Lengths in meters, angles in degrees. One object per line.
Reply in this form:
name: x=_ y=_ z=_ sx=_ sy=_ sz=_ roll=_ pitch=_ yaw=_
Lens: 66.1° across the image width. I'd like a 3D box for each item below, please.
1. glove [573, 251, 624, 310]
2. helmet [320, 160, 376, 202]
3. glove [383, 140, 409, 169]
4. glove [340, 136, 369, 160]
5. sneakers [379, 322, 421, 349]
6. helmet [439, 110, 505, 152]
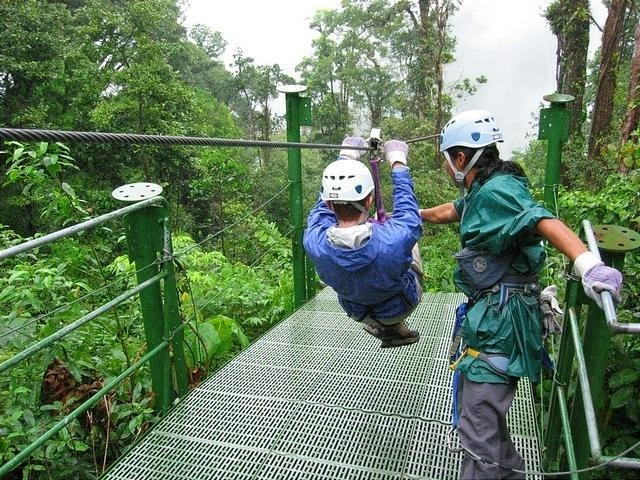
glove: x=1.363 y=0.189 z=2.369 sx=0.168 sy=0.096 sz=0.219 roll=3 pitch=25 yaw=21
helmet: x=0.169 y=-0.418 z=3.614 sx=0.394 sy=0.344 sz=0.571 roll=-1 pitch=16 yaw=11
glove: x=0.645 y=-0.734 z=4.136 sx=0.158 sy=0.117 sz=0.280 roll=-1 pitch=30 yaw=9
glove: x=0.297 y=-0.838 z=4.435 sx=0.232 sy=0.148 sz=0.334 roll=9 pitch=42 yaw=16
sneakers: x=0.661 y=0.813 z=4.146 sx=0.288 sy=0.310 sz=0.139 roll=-16 pitch=32 yaw=-3
helmet: x=0.992 y=-0.719 z=3.234 sx=0.320 sy=0.247 sz=0.410 roll=-13 pitch=6 yaw=-38
